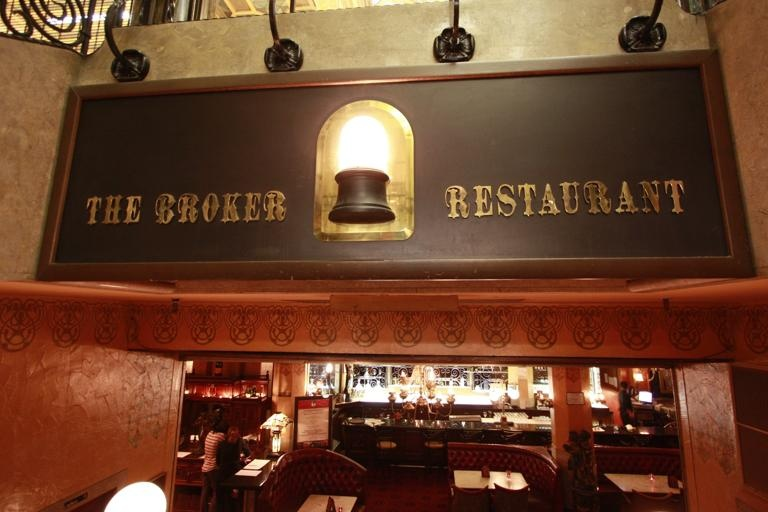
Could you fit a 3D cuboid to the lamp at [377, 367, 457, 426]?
[{"bbox_3d":[0.693,3.207,12.436,1.347,1.714,1.367,-5,-12,34],"label":"lamp"}]
